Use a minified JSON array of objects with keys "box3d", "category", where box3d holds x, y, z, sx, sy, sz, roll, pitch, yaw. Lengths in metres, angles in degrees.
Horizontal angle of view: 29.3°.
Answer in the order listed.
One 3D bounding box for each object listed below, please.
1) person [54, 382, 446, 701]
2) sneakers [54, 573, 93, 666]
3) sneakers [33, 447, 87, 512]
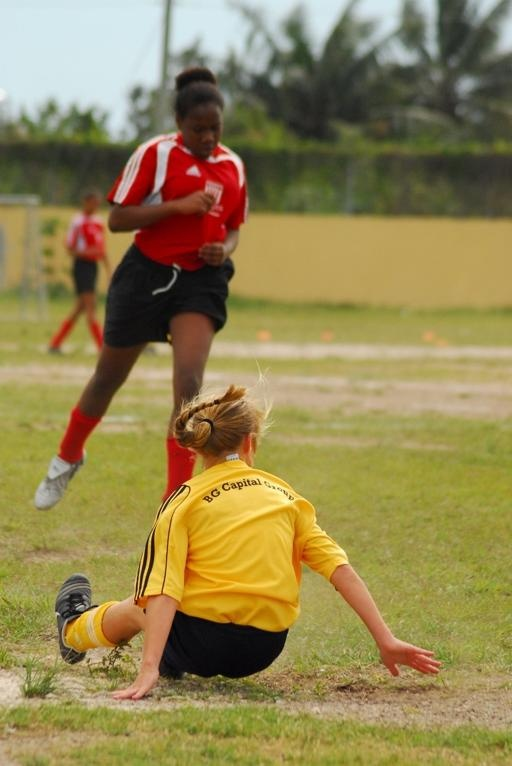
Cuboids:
[{"box3d":[-0.044,0.427,2.555,0.923,0.830,0.609,2,10,-10],"category":"person"},{"box3d":[-0.509,0.657,2.757,0.100,0.250,0.103,8,-42,-10],"category":"sneakers"},{"box3d":[-0.756,0.379,3.759,0.110,0.294,0.131,36,-2,10],"category":"sneakers"}]
